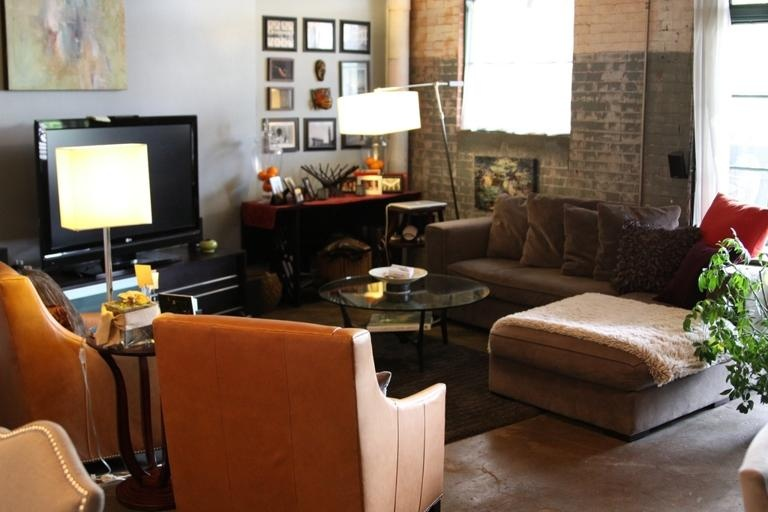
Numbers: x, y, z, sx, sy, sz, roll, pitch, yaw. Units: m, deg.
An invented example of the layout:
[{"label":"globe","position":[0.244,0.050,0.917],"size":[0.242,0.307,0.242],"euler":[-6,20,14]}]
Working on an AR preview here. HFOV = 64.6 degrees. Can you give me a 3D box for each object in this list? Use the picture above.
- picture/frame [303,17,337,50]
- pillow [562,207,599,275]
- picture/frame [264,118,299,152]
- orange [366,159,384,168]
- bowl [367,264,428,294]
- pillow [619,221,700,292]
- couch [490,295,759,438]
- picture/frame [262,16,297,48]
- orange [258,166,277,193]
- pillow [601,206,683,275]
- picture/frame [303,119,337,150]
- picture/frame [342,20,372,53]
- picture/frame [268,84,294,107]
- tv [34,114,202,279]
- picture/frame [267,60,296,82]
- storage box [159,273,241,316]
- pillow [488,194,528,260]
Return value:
[{"label":"picture/frame","position":[-0.735,-2.495,6.779],"size":[0.431,0.354,0.031],"euler":[-5,11,-36]},{"label":"pillow","position":[1.727,-0.127,5.326],"size":[0.296,0.580,0.306],"euler":[1,13,18]},{"label":"picture/frame","position":[-1.127,-1.320,6.576],"size":[0.035,0.345,0.436],"euler":[3,7,42]},{"label":"orange","position":[-0.096,-1.066,6.957],"size":[0.142,0.065,0.139],"euler":[30,54,15]},{"label":"bowl","position":[0.149,0.168,4.754],"size":[0.296,0.101,0.291],"euler":[0,7,0]},{"label":"pillow","position":[2.190,0.057,4.853],"size":[0.167,0.538,0.552],"euler":[18,-4,-33]},{"label":"couch","position":[1.682,0.737,4.519],"size":[1.426,0.612,1.504],"euler":[-8,8,-39]},{"label":"picture/frame","position":[-1.137,-2.404,6.502],"size":[0.404,0.334,0.027],"euler":[-5,8,-37]},{"label":"orange","position":[-1.210,-0.809,6.346],"size":[0.220,0.248,0.334],"euler":[-5,12,-10]},{"label":"pillow","position":[2.129,-0.146,5.242],"size":[0.649,0.594,0.637],"euler":[-5,8,-34]},{"label":"picture/frame","position":[-0.749,-1.401,6.938],"size":[0.390,0.321,0.028],"euler":[-6,9,-41]},{"label":"picture/frame","position":[-0.336,-2.565,7.063],"size":[0.435,0.357,0.031],"euler":[-6,9,-38]},{"label":"picture/frame","position":[-1.129,-1.743,6.578],"size":[0.275,0.219,0.023],"euler":[-6,10,-40]},{"label":"tv","position":[-1.998,-0.436,4.471],"size":[0.393,1.067,1.462],"euler":[2,6,36]},{"label":"picture/frame","position":[-1.123,-2.006,6.552],"size":[0.281,0.221,0.030],"euler":[-5,8,-39]},{"label":"storage box","position":[-1.494,0.295,4.888],"size":[0.375,0.201,0.119],"euler":[-14,24,-39]},{"label":"pillow","position":[1.186,-0.276,5.831],"size":[0.221,0.528,0.546],"euler":[4,0,-42]}]
